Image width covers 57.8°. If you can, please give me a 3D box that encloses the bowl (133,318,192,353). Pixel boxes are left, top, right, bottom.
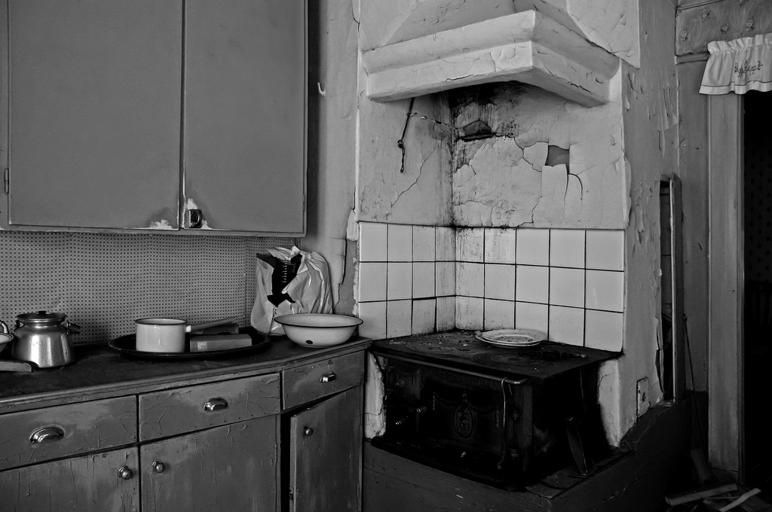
[{"bbox_3d":[-1.065,0.371,3.293,0.191,0.108,0.151,5,-7,-41],"label":"bowl"}]
